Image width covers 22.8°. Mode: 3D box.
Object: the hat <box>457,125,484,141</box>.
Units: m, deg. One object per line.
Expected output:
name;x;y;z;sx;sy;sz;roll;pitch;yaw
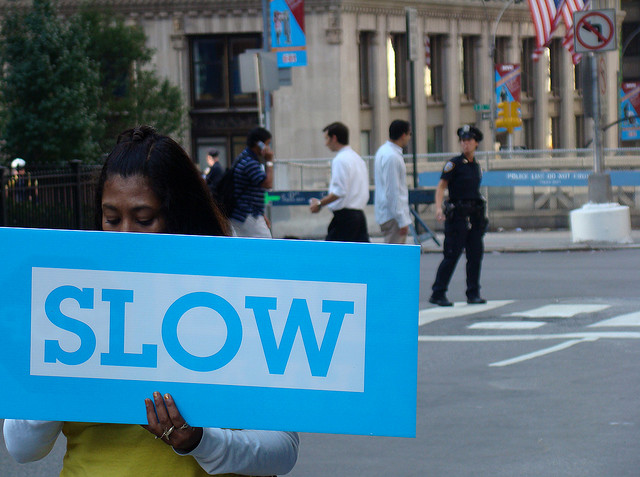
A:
hat;2.797;-1.987;29.651;0.441;0.254;0.602;-2;3;4

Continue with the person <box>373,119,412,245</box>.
person;1.370;-1.073;29.504;0.667;2.280;0.647;-2;2;2

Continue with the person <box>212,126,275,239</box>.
person;-1.396;-0.622;29.743;1.190;2.913;0.883;7;21;12

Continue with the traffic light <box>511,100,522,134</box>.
traffic light;6.808;-4.262;55.353;0.294;1.113;1.084;-1;2;9
